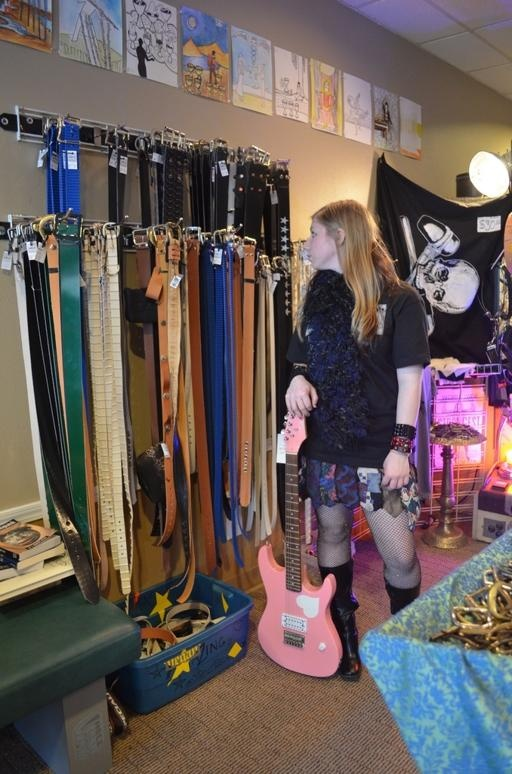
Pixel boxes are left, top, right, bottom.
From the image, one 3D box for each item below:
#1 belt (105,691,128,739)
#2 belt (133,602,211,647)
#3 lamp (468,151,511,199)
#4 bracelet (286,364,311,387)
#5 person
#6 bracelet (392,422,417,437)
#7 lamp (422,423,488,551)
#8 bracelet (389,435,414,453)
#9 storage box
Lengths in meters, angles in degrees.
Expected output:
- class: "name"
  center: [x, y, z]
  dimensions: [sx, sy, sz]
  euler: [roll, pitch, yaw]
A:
- class: "belt"
  center: [-0.440, 1.020, 1.800]
  dimensions: [0.034, 0.162, 0.105]
  euler: [-7, 0, -19]
- class: "belt"
  center: [-0.313, 0.830, 2.134]
  dimensions: [0.242, 0.129, 0.183]
  euler: [-18, 11, -37]
- class: "lamp"
  center: [1.548, -1.403, 3.755]
  dimensions: [0.201, 0.281, 0.214]
  euler: [-2, 5, -13]
- class: "bracelet"
  center: [0.147, -0.046, 1.953]
  dimensions: [0.047, 0.083, 0.054]
  euler: [0, -6, -3]
- class: "person"
  center: [0.298, 0.192, 1.833]
  dimensions: [0.378, 1.553, 0.411]
  euler: [4, 13, 30]
- class: "bracelet"
  center: [0.444, 0.128, 1.699]
  dimensions: [0.065, 0.053, 0.081]
  euler: [0, 6, 14]
- class: "lamp"
  center: [1.166, 0.560, 3.436]
  dimensions: [0.336, 0.695, 0.438]
  euler: [-1, 4, -1]
- class: "bracelet"
  center: [0.428, 0.167, 1.666]
  dimensions: [0.040, 0.044, 0.052]
  euler: [6, 8, -9]
- class: "storage box"
  center: [-0.248, 0.889, 2.012]
  dimensions: [0.268, 0.199, 0.397]
  euler: [6, 11, 42]
